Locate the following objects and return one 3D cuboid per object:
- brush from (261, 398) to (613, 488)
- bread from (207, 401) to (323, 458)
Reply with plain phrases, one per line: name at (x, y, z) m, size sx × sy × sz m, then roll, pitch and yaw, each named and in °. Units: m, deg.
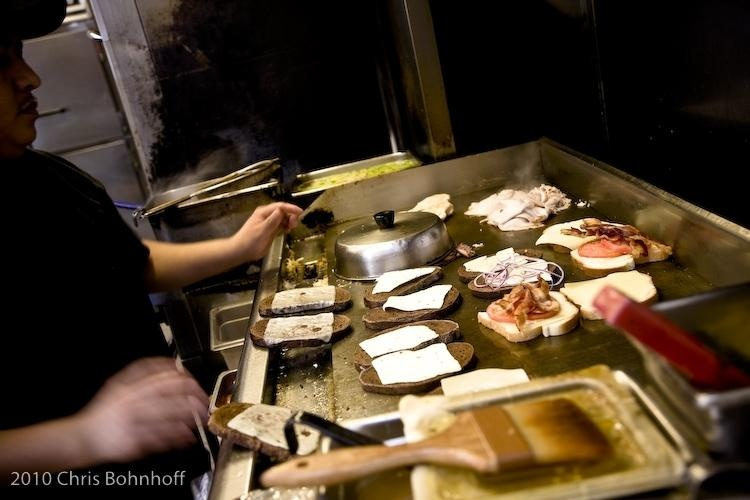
brush at (0.149, 0.491, 1.400) m, size 0.840 × 0.040 × 0.230 m, roll -7°, pitch 21°, yaw -5°
bread at (-0.348, 0.537, 1.695) m, size 0.300 × 0.046 × 0.163 m, roll 14°, pitch 23°, yaw 26°
